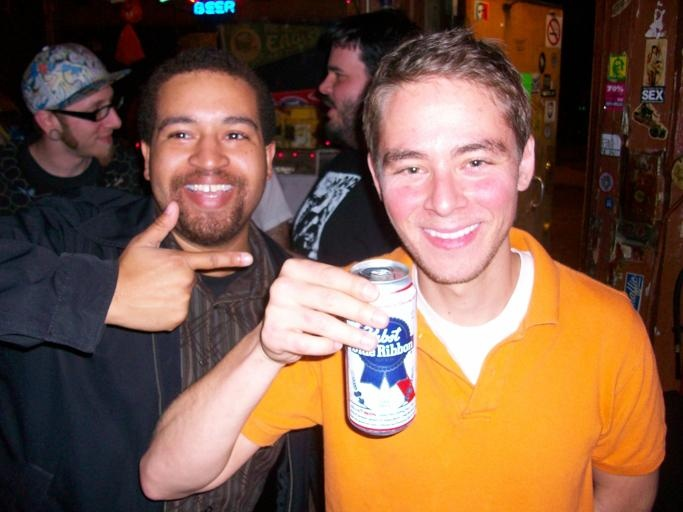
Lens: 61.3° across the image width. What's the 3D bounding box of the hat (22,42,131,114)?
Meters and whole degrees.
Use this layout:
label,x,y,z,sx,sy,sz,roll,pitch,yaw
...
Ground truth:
label,x,y,z,sx,sy,sz,roll,pitch,yaw
hat,-2.311,-1.490,4.953,0.761,0.475,0.579,-20,39,-4
